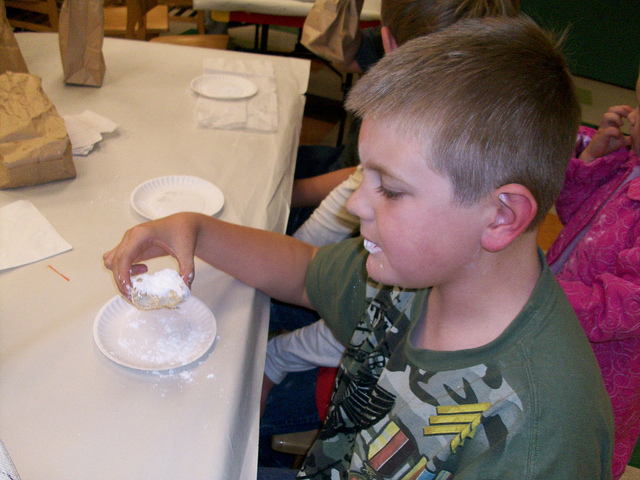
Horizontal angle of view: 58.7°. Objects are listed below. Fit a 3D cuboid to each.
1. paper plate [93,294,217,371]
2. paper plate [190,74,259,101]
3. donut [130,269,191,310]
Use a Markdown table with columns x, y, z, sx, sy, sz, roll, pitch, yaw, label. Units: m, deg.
| x | y | z | sx | sy | sz | roll | pitch | yaw | label |
| --- | --- | --- | --- | --- | --- | --- | --- | --- | --- |
| -0.425 | 0.232 | 1.471 | 0.302 | 0.045 | 0.229 | -3 | 43 | -8 | paper plate |
| -0.430 | -0.661 | 2.492 | 0.165 | 0.021 | 0.177 | 8 | 38 | -3 | paper plate |
| -0.424 | 0.131 | 1.505 | 0.103 | 0.043 | 0.110 | 7 | 39 | -8 | donut |
